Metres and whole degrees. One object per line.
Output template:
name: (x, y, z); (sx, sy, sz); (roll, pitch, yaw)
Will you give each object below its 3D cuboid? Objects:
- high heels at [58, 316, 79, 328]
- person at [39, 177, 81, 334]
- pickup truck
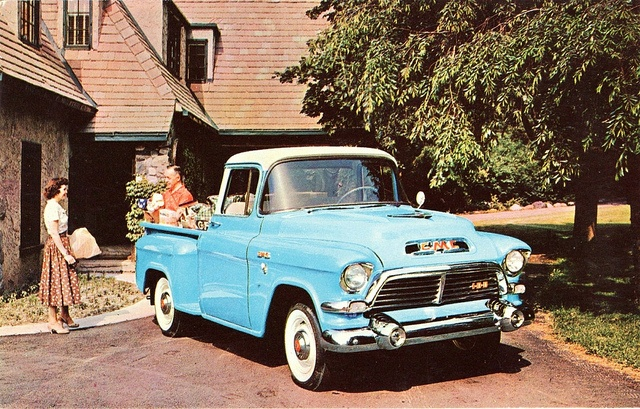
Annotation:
high heels: (-4.845, 2.295, 10.293); (0.449, 0.187, 0.173); (13, 5, 27)
person: (-4.946, 0.966, 10.058); (0.669, 2.880, 0.610); (-4, 8, -29)
pickup truck: (-0.396, 0.842, 8.988); (3.245, 2.365, 5.415); (1, -1, -33)
